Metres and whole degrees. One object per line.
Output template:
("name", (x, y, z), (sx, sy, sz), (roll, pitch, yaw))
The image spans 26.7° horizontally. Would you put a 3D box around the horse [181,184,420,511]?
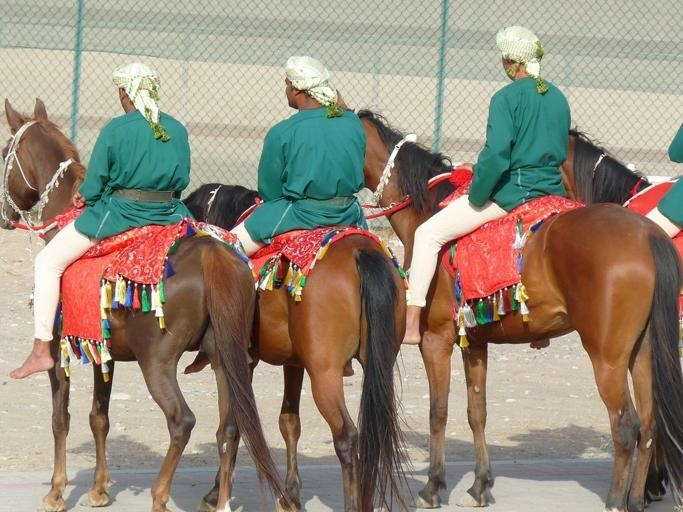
("horse", (-0.078, 0.914, 11.296), (0.793, 2.224, 1.484), (-3, 4, -43))
